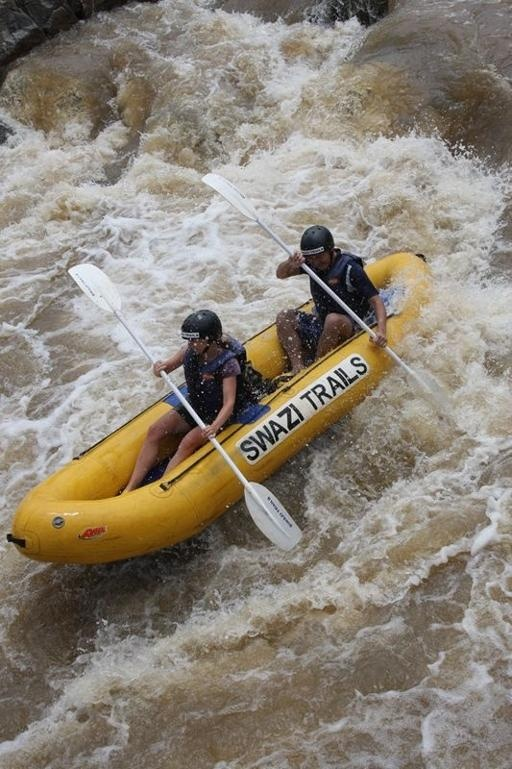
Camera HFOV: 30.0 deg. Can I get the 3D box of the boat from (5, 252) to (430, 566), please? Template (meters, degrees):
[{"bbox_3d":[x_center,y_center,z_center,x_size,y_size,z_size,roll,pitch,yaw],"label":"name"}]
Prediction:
[{"bbox_3d":[0.215,0.389,7.178,4.138,0.667,1.227,-32,50,-19],"label":"boat"}]

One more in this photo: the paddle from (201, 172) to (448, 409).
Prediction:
[{"bbox_3d":[0.604,-0.732,7.804,0.193,3.607,0.351,-23,35,50],"label":"paddle"}]

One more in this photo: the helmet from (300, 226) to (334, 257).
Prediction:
[{"bbox_3d":[0.433,-1.030,6.959,0.195,0.199,0.236,11,61,34],"label":"helmet"}]

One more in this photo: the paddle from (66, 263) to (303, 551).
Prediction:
[{"bbox_3d":[-0.531,0.219,7.064,3.308,0.121,0.367,44,102,18],"label":"paddle"}]
